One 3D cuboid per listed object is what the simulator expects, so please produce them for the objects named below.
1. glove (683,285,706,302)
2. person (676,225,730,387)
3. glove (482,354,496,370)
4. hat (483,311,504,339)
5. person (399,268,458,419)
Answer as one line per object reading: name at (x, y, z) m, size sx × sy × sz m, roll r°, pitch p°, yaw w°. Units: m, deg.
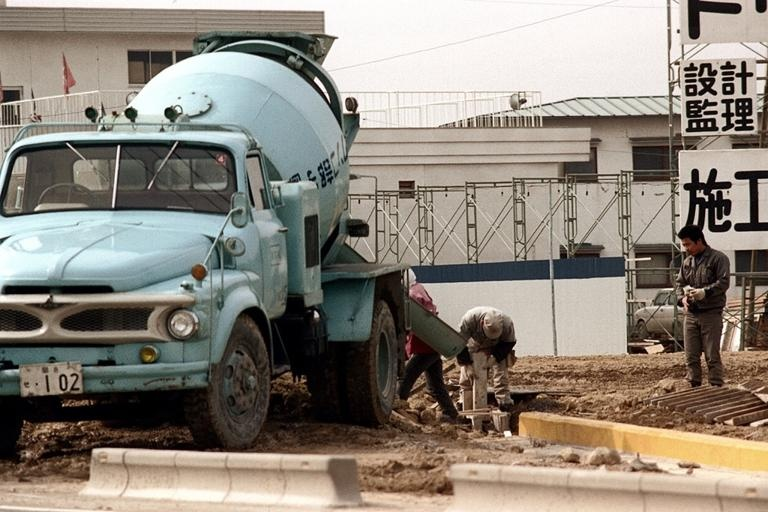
glove at (4.372, 0.534, 18.654) m, size 0.180 × 0.154 × 0.355 m, roll -2°, pitch 0°, yaw -23°
person at (4.547, 0.713, 18.821) m, size 0.726 × 1.757 × 0.698 m, roll -1°, pitch 0°, yaw 15°
glove at (1.517, 1.565, 19.502) m, size 0.071 × 0.188 × 0.258 m, roll 0°, pitch -39°, yaw 44°
hat at (1.588, 1.012, 19.317) m, size 0.264 × 0.378 × 0.375 m, roll 1°, pitch -4°, yaw -2°
person at (0.656, 1.193, 19.601) m, size 1.092 × 2.030 × 0.610 m, roll 9°, pitch 33°, yaw 27°
